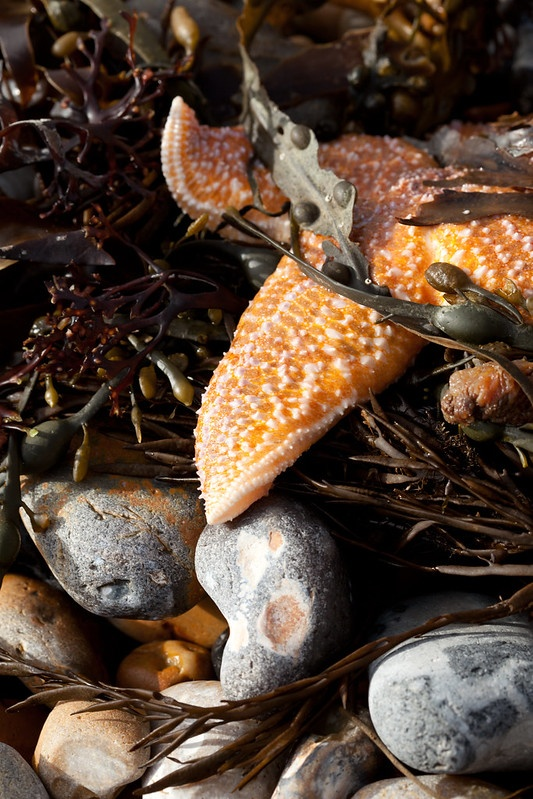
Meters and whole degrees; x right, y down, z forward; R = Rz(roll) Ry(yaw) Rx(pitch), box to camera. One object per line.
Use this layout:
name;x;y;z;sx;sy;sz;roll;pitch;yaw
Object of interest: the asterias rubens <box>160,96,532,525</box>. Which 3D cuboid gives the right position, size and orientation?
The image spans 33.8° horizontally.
asterias rubens;0.077;-0.165;1.021;0.448;0.342;0.488;-15;36;0
